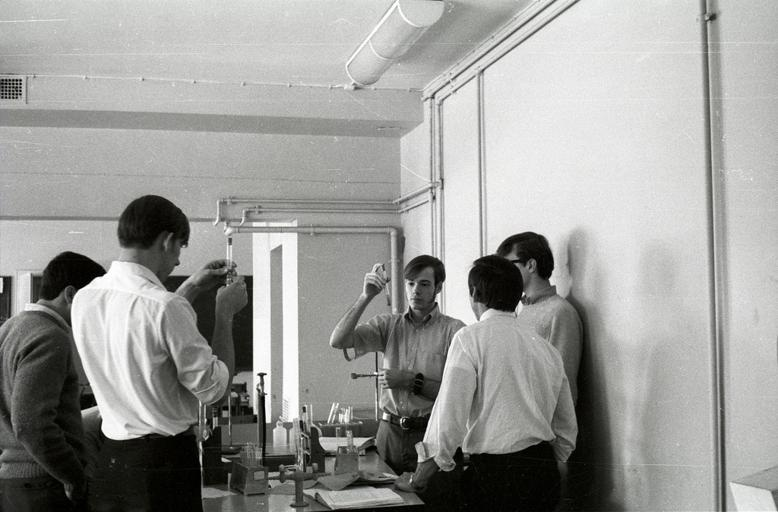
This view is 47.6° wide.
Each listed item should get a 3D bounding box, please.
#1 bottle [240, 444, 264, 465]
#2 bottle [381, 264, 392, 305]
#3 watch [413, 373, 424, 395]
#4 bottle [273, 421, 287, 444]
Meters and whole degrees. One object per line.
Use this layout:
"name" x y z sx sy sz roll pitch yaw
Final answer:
"bottle" -0.517 0.751 3.325 0.090 0.078 0.066 5 -9 -23
"bottle" -0.012 0.108 3.428 0.052 0.144 0.051 -4 -6 0
"watch" 0.113 0.495 3.417 0.051 0.075 0.070 4 -14 12
"bottle" -0.417 0.677 3.373 0.055 0.095 0.028 0 -6 -5
